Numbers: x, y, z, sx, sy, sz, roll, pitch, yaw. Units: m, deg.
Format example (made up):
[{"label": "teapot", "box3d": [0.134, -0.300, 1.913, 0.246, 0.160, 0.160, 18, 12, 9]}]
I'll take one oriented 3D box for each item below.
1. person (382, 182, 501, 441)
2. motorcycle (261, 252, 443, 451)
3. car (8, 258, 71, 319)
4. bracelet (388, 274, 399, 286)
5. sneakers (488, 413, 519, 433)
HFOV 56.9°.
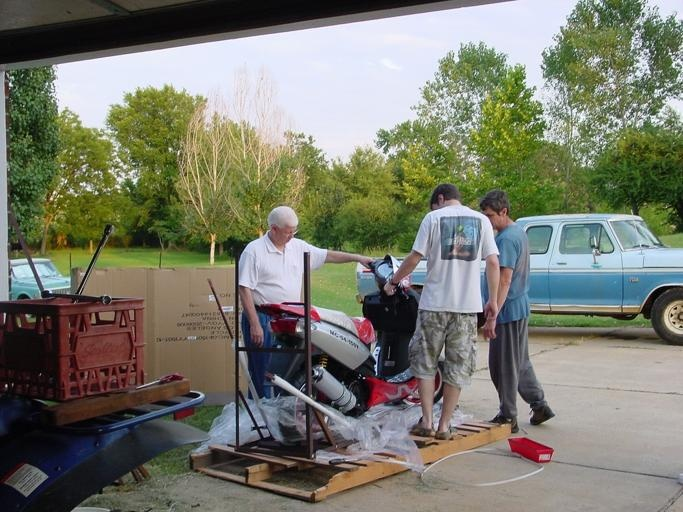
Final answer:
[{"label": "person", "box3d": [0.971, 0.576, 5.663, 0.959, 2.030, 0.436, -1, 3, -22]}, {"label": "motorcycle", "box3d": [0.030, 0.967, 6.228, 2.320, 1.845, 0.937, 0, -1, -42]}, {"label": "car", "box3d": [-7.161, 0.528, 14.934, 1.116, 0.811, 5.135, -1, 3, -26]}, {"label": "bracelet", "box3d": [0.459, 0.218, 5.741, 0.045, 0.098, 0.075, 2, -19, -1]}, {"label": "sneakers", "box3d": [1.623, 1.637, 6.255, 0.372, 0.169, 0.133, 16, -9, -8]}]
